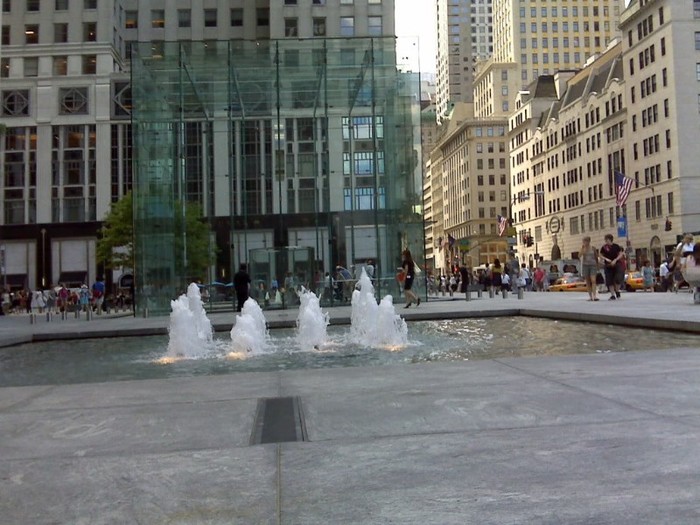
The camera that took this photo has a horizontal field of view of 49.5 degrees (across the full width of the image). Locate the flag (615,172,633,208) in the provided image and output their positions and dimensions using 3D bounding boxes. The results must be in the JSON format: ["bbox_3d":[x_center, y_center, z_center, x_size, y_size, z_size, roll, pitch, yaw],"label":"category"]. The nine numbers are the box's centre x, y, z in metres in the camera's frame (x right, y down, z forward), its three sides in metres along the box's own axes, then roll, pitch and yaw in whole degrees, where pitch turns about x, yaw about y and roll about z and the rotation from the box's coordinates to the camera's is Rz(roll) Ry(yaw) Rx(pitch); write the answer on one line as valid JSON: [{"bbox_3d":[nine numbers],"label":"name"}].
[{"bbox_3d":[17.740,-4.931,49.531,0.871,2.355,3.180,-3,-1,20],"label":"flag"}]

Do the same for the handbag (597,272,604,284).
[{"bbox_3d":[9.493,0.580,29.007,0.276,0.364,0.947,14,11,18],"label":"handbag"}]
